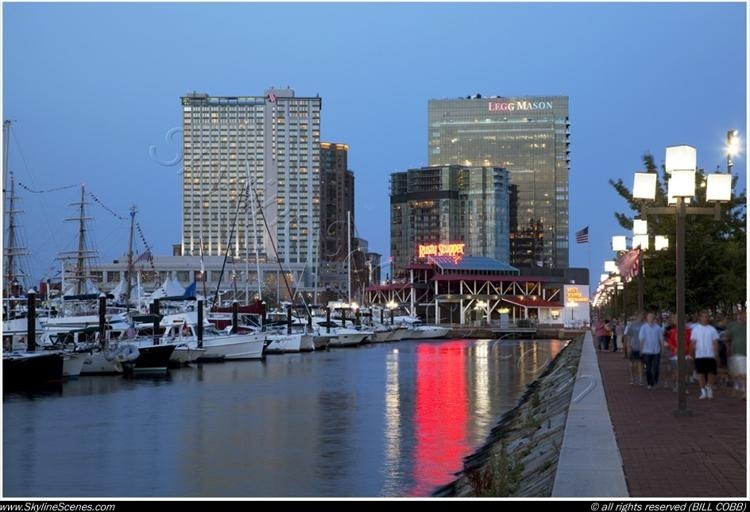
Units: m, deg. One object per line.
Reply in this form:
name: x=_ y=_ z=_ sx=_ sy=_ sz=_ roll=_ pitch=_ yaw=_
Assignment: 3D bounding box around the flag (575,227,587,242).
flag: x=20.261 y=-2.085 z=117.931 sx=0.909 sy=1.364 sz=1.893 roll=-4 pitch=7 yaw=-2
